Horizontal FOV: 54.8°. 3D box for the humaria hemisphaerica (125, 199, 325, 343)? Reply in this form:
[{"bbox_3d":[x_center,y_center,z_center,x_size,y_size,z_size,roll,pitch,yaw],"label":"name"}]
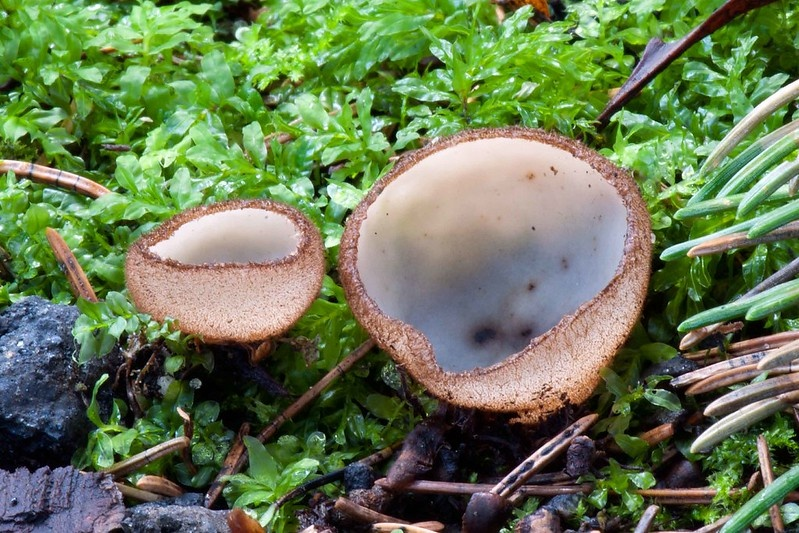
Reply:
[{"bbox_3d":[-0.528,0.011,2.401,0.588,0.259,0.447,0,81,5],"label":"humaria hemisphaerica"}]
